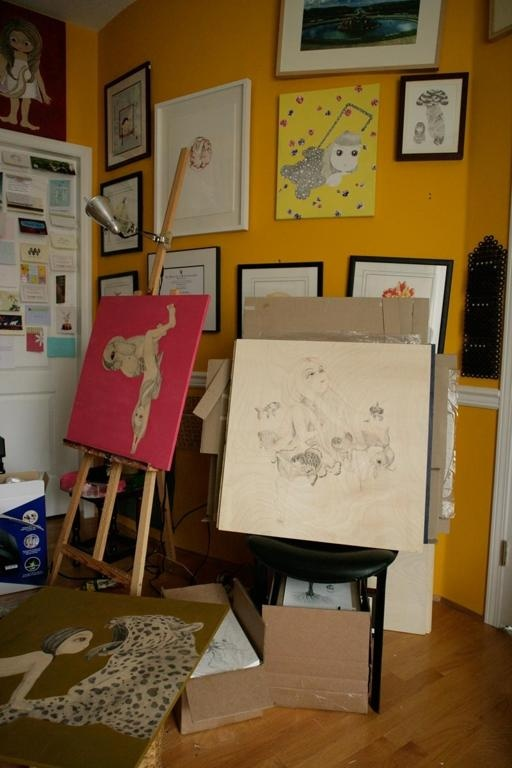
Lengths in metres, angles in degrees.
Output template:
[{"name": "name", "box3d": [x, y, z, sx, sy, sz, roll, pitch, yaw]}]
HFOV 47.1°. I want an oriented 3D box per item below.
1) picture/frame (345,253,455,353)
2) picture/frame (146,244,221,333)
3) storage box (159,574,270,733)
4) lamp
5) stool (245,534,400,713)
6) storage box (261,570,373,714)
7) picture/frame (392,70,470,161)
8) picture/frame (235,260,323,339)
[{"name": "picture/frame", "box3d": [0.593, -0.312, 2.455, 0.268, 0.318, 0.012, 5, -9, 0]}, {"name": "picture/frame", "box3d": [-0.299, -0.422, 2.585, 0.475, 0.526, 0.050, 6, 8, 30]}, {"name": "storage box", "box3d": [-0.143, 0.836, 1.903, 0.270, 0.286, 0.409, -2, 4, -16]}, {"name": "lamp", "box3d": [-0.517, -0.638, 2.315, 0.278, 0.197, 0.289, -3, 8, -28]}, {"name": "stool", "box3d": [0.221, 0.678, 1.982, 0.539, 0.735, 0.462, 1, 1, -2]}, {"name": "storage box", "box3d": [0.191, 0.810, 1.875, 0.325, 0.343, 0.209, 3, -3, 6]}, {"name": "picture/frame", "box3d": [0.725, -1.092, 2.383, 0.337, 0.429, 0.018, 5, 11, 20]}, {"name": "picture/frame", "box3d": [0.113, -0.358, 2.434, 0.390, 0.403, 0.016, 2, 3, 37]}]
